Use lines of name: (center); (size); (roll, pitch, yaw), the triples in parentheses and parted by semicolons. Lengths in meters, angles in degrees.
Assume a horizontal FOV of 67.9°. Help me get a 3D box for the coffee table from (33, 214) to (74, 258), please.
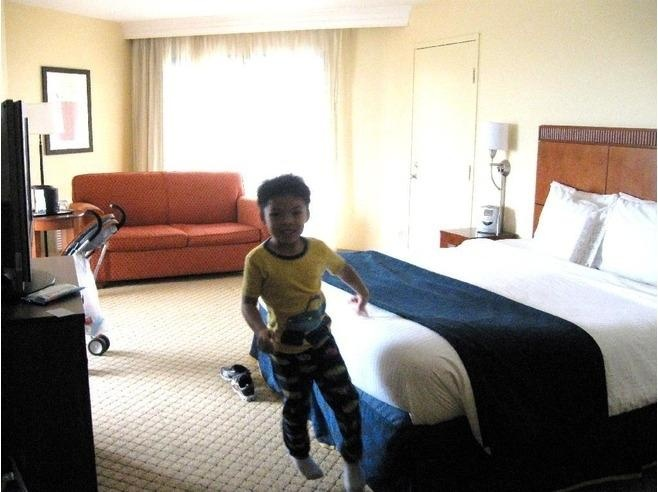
coffee table: (-2.627, -0.104, 4.638); (0.280, 0.299, 0.288); (3, 18, 6)

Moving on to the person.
person: (-0.094, 0.432, 2.014); (0.505, 1.432, 0.450); (1, 13, 5)

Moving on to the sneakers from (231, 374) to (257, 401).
sneakers: (-0.520, 0.854, 3.006); (0.083, 0.091, 0.205); (-3, 13, -24)
